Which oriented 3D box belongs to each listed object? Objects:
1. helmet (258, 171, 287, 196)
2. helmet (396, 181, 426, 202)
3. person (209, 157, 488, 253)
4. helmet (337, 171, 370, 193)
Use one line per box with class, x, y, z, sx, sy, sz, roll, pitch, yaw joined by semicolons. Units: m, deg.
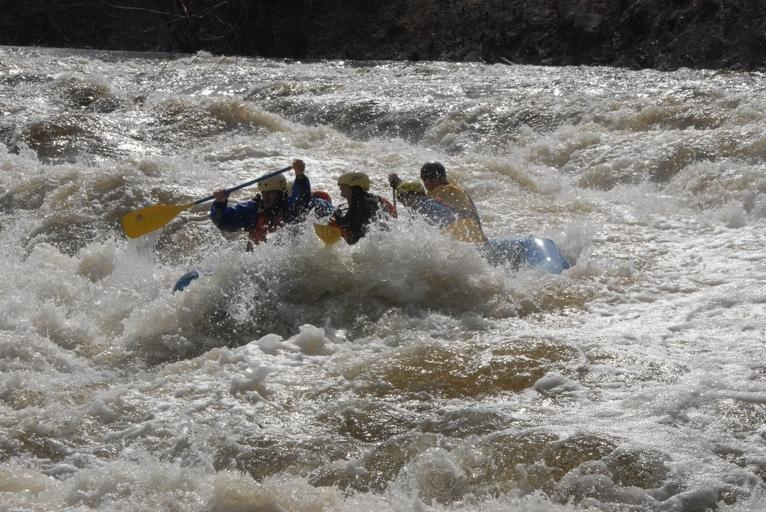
helmet;-1.499;-1.025;15.888;0.352;0.228;0.248;6;-8;-38
helmet;0.406;-0.949;16.439;0.364;0.239;0.245;-15;15;8
person;-0.544;-0.624;16.192;3.169;0.849;1.467;3;-3;-3
helmet;-0.394;-1.024;15.905;0.369;0.191;0.254;-2;11;-12
